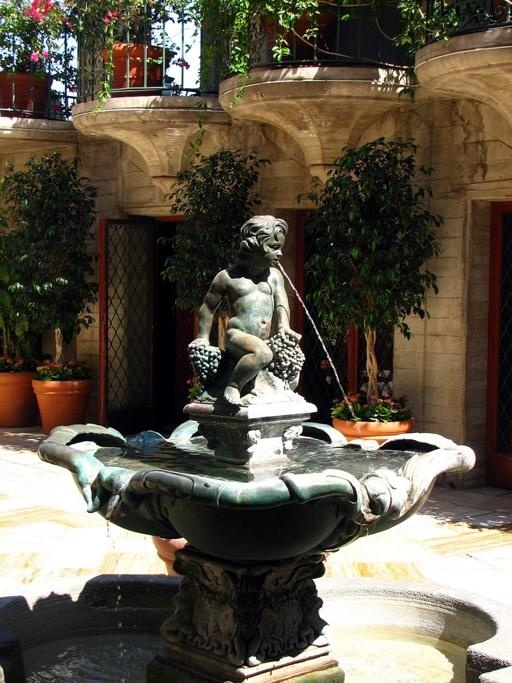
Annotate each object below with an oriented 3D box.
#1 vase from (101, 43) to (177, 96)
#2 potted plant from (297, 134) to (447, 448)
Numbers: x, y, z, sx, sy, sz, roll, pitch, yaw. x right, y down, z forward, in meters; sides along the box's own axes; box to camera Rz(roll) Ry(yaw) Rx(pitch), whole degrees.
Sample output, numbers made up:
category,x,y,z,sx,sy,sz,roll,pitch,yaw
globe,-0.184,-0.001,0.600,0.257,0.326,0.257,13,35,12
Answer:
category,x,y,z,sx,sy,sz,roll,pitch,yaw
vase,-1.306,-3.151,8.705,0.849,0.545,0.838,7,12,18
potted plant,1.021,-0.608,6.997,1.166,2.565,1.537,-2,1,-12
